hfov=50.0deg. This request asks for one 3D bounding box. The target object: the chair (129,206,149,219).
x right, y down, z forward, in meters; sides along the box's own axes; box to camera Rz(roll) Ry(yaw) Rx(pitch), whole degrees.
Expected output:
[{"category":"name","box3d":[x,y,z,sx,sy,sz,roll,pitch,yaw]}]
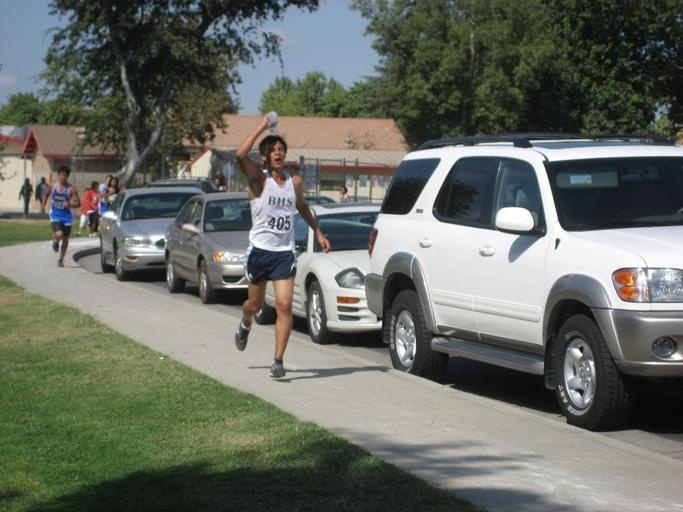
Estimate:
[{"category":"chair","box3d":[-5.126,-1.094,18.530,0.274,0.399,0.363,2,-2,-36]}]

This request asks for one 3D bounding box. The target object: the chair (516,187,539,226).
[{"category":"chair","box3d":[1.850,-0.504,7.305,0.206,0.314,0.296,-2,6,-19]}]

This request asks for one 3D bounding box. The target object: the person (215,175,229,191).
[{"category":"person","box3d":[-4.602,-2.829,28.096,0.339,0.581,1.803,0,5,-12]}]
